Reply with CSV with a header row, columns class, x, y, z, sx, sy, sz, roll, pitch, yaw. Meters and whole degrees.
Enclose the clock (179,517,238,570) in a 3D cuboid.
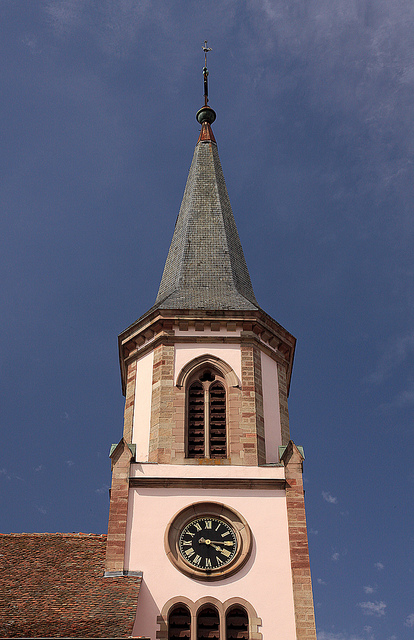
class,x,y,z,sx,sy,sz,roll,pitch,yaw
clock,0.020,4.862,20.472,1.243,0.125,1.341,2,-73,-4
